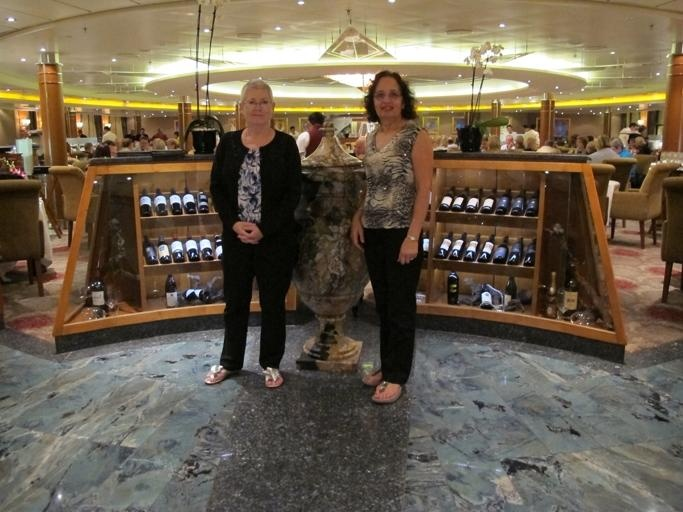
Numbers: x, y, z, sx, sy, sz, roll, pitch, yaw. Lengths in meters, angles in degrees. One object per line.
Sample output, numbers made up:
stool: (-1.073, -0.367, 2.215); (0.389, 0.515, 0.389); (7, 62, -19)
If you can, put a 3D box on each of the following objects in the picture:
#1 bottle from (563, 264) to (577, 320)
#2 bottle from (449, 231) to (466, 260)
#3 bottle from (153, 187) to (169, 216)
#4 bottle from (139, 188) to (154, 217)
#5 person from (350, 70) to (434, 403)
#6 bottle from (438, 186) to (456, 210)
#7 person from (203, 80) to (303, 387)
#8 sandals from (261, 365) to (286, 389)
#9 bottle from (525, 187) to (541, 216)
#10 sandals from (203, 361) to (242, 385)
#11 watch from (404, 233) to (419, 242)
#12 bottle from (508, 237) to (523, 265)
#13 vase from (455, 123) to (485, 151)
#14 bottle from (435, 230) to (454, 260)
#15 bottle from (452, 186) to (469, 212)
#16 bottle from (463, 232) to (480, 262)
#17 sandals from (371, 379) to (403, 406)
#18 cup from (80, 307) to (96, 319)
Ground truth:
bottle: (1.719, 0.262, 3.231); (0.104, 0.392, 0.070); (8, 17, 28)
bottle: (0.989, -0.083, 3.694); (0.077, 0.075, 0.262); (20, 45, 16)
bottle: (-1.398, -0.413, 3.343); (0.099, 0.203, 0.042); (-6, 16, -22)
bottle: (-1.486, -0.401, 3.291); (0.094, 0.208, 0.034); (-10, 18, -34)
person: (0.312, -0.099, 2.476); (0.370, 1.844, 0.494); (0, 15, 2)
bottle: (0.884, -0.486, 3.646); (0.066, 0.065, 0.216); (16, 46, 20)
person: (-0.548, -0.119, 2.662); (0.570, 1.849, 0.467); (3, 15, 12)
sandals: (-0.431, 0.764, 2.708); (0.110, 0.089, 0.235); (0, -6, -3)
bottle: (1.471, -0.411, 3.347); (0.061, 0.206, 0.107); (-14, 20, -41)
sandals: (-0.780, 0.771, 2.817); (0.096, 0.080, 0.212); (-4, -7, 35)
watch: (0.384, -0.102, 2.359); (0.067, 0.038, 0.023); (0, 15, -1)
bottle: (1.412, -0.036, 3.508); (0.089, 0.085, 0.297); (25, 55, 5)
vase: (1.041, -0.950, 3.485); (0.231, 0.169, 0.210); (-2, 8, 2)
bottle: (0.866, -0.089, 3.671); (0.075, 0.073, 0.280); (14, 48, 22)
bottle: (1.009, -0.483, 3.661); (0.074, 0.073, 0.243); (3, 46, 33)
bottle: (1.112, -0.088, 3.674); (0.096, 0.092, 0.315); (18, 42, 22)
sandals: (0.253, 0.802, 2.487); (0.095, 0.071, 0.175); (-8, -12, 22)
cup: (-1.948, 0.439, 3.315); (0.086, 0.087, 0.060); (-8, 17, -29)
